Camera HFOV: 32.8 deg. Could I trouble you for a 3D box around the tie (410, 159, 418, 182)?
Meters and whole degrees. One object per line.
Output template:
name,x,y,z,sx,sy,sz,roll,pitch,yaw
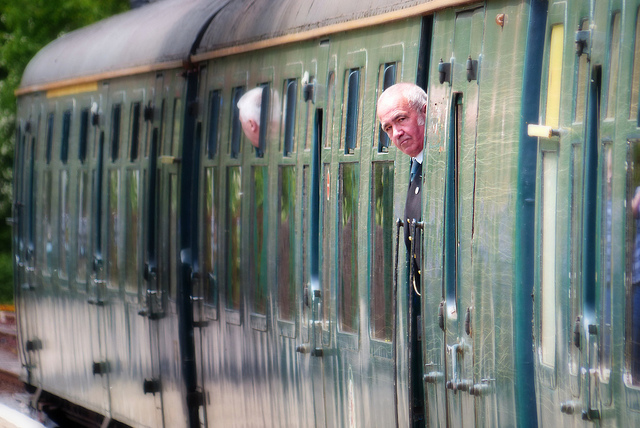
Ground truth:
tie,0.718,-0.350,8.428,0.029,0.117,0.071,7,0,4

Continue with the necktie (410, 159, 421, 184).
necktie,0.727,-0.353,8.414,0.033,0.126,0.072,7,-8,-28
